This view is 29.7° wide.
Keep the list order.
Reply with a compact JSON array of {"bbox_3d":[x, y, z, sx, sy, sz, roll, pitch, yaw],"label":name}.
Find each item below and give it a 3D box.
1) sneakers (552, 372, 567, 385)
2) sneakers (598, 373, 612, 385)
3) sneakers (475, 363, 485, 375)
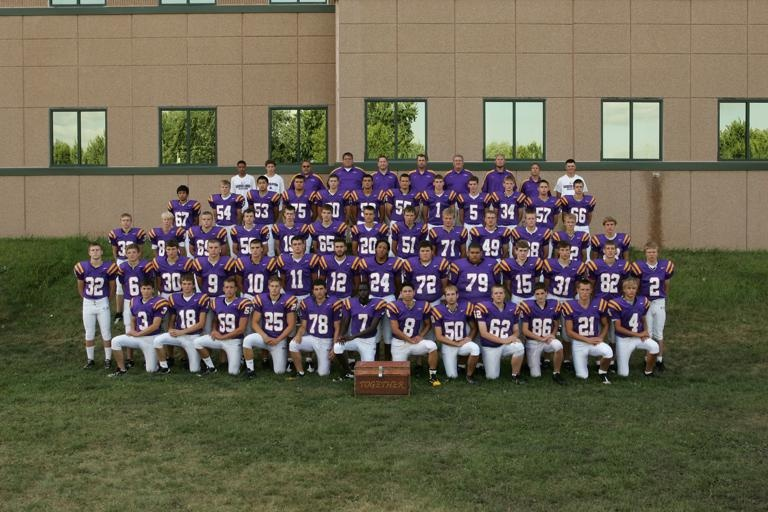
[{"bbox_3d":[4.340,3.015,35.441,0.200,0.239,0.379,-2,1,-35],"label":"sneakers"},{"bbox_3d":[5.432,2.991,35.419,0.289,0.243,0.327,-1,4,7],"label":"sneakers"},{"bbox_3d":[2.406,2.809,36.018,0.171,0.265,0.138,10,-7,-29],"label":"sneakers"}]
